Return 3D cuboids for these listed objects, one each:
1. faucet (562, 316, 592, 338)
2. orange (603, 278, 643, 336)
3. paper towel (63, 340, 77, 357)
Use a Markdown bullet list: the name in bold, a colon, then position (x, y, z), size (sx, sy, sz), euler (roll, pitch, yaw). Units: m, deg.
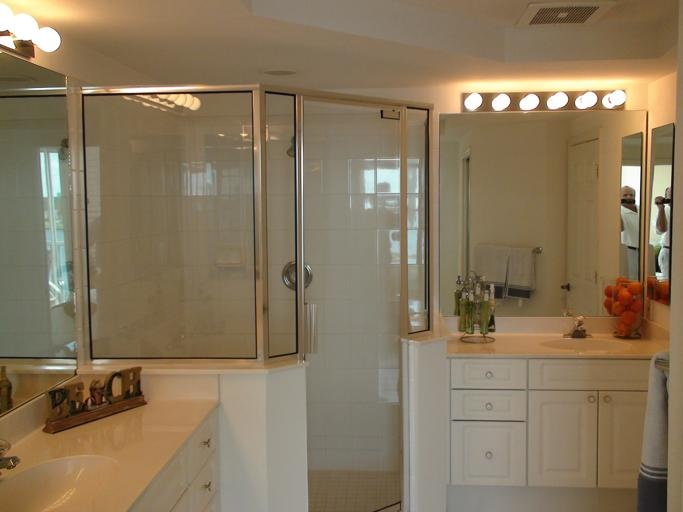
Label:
- **faucet**: position (1.632, 0.490, 3.976), size (0.175, 0.129, 0.169), euler (3, 11, 16)
- **orange**: position (1.941, 0.355, 3.957), size (0.252, 0.388, 0.194), euler (4, 11, 21)
- **paper towel**: position (-1.392, 0.482, 2.979), size (0.015, 0.069, 0.060), euler (6, 5, 19)
